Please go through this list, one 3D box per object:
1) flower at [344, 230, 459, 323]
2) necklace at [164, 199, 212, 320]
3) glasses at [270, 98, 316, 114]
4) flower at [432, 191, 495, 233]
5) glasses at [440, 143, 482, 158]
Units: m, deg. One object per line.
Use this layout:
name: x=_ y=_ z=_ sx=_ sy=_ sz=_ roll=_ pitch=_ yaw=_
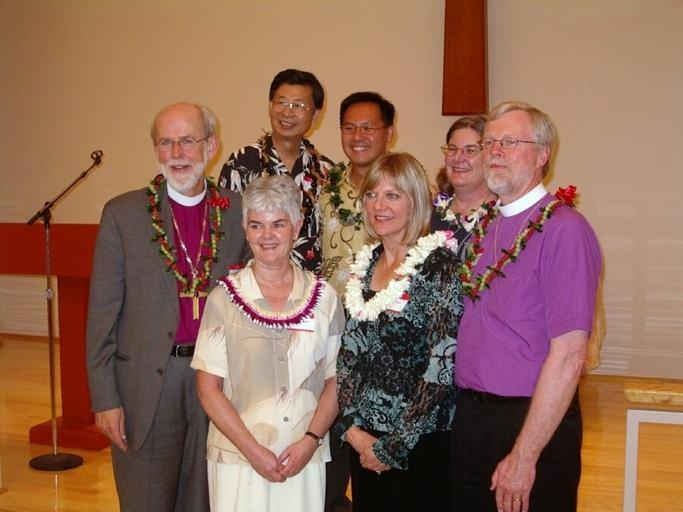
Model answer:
flower: x=0.218 y=0.124 z=3.169 sx=0.394 sy=0.168 sz=0.539 roll=6 pitch=47 yaw=23
necklace: x=-0.761 y=0.015 z=3.328 sx=0.211 sy=0.623 sz=0.056 roll=-2 pitch=23 yaw=-9
glasses: x=-0.312 y=-0.938 z=4.034 sx=0.219 sy=0.081 sz=0.049 roll=0 pitch=12 yaw=1
flower: x=0.669 y=-0.244 z=3.631 sx=0.248 sy=0.083 sz=0.261 roll=-2 pitch=48 yaw=-12
glasses: x=0.692 y=-0.611 z=3.706 sx=0.182 sy=0.064 sz=0.190 roll=3 pitch=-5 yaw=27
